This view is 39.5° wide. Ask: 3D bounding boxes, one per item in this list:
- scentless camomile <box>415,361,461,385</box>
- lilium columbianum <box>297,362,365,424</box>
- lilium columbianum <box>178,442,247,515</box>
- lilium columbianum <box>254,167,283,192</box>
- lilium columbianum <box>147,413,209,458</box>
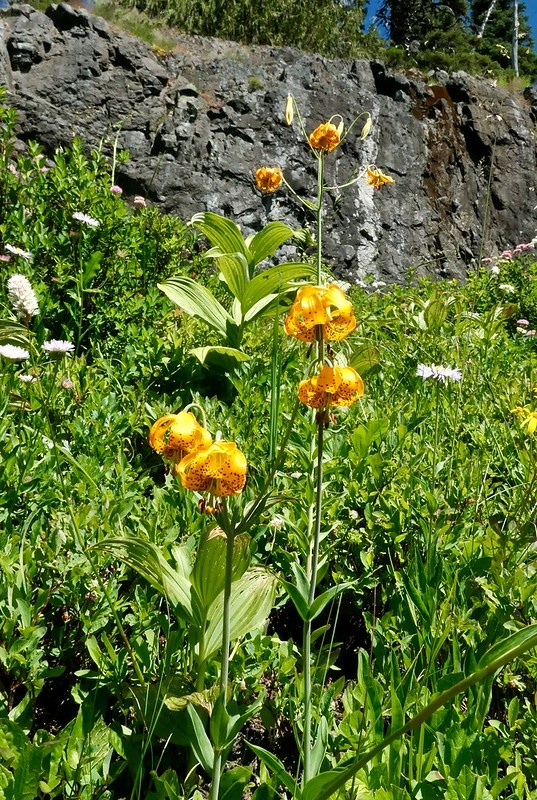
[{"bbox_3d":[0.489,-0.081,2.203,0.083,0.036,0.089,6,4,-20],"label":"scentless camomile"},{"bbox_3d":[0.091,-0.013,1.238,0.096,0.082,0.097,51,18,-36],"label":"lilium columbianum"},{"bbox_3d":[-0.073,0.117,1.044,0.091,0.105,0.095,13,-17,-39],"label":"lilium columbianum"},{"bbox_3d":[-0.001,-0.881,2.999,0.088,0.106,0.217,14,21,-1],"label":"lilium columbianum"},{"bbox_3d":[-0.125,0.060,1.100,0.068,0.077,0.080,1,-10,-37],"label":"lilium columbianum"}]
